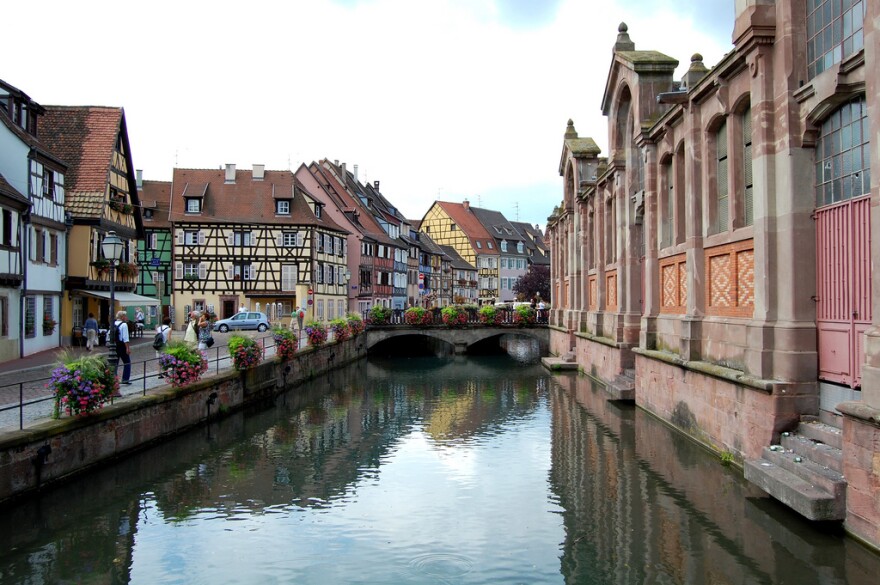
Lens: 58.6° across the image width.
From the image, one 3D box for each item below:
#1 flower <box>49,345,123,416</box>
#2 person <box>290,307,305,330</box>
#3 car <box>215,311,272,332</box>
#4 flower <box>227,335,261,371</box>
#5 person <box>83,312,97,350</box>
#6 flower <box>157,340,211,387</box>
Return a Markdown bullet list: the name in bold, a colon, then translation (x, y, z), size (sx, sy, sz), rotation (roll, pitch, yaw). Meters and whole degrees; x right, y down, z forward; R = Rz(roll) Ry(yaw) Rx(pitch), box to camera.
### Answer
- **flower**: translation (-7.963, 2.081, 17.688), size (1.224, 1.316, 1.110), rotation (-12, 9, -42)
- **person**: translation (-8.325, 1.601, 45.700), size (0.821, 1.400, 0.594), rotation (-9, -16, 38)
- **car**: translation (-11.857, 1.841, 47.526), size (2.695, 1.151, 1.405), rotation (2, -2, -1)
- **flower**: translation (-6.503, 2.035, 25.943), size (0.656, 1.197, 1.558), rotation (0, 5, 3)
- **person**: translation (-14.409, 1.762, 32.338), size (0.329, 1.338, 1.169), rotation (-3, 5, -22)
- **flower**: translation (-7.011, 1.954, 21.521), size (1.029, 1.176, 1.135), rotation (0, 1, 1)
